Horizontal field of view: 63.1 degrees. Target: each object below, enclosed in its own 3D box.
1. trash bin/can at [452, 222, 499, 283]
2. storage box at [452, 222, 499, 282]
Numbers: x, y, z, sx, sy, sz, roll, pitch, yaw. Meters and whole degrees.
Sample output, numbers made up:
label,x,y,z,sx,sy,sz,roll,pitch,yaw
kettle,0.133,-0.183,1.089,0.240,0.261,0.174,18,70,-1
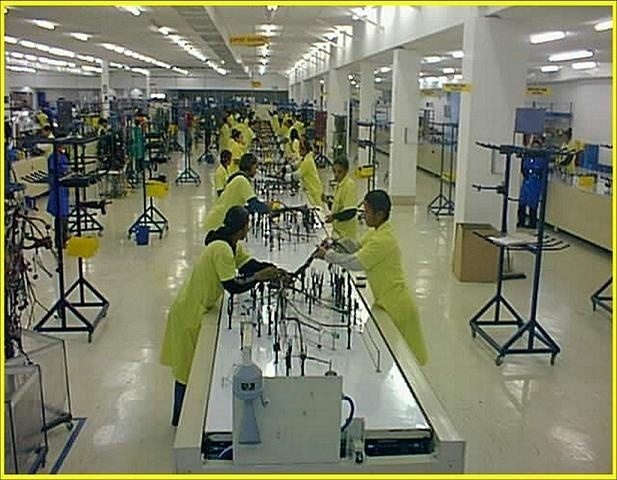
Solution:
label,x,y,z,sx,sy,sz,roll,pitch,yaw
trash bin/can,2.509,0.193,7.493,0.738,1.133,0.747,0,5,0
storage box,2.639,0.137,7.947,0.539,0.835,0.797,2,16,10
